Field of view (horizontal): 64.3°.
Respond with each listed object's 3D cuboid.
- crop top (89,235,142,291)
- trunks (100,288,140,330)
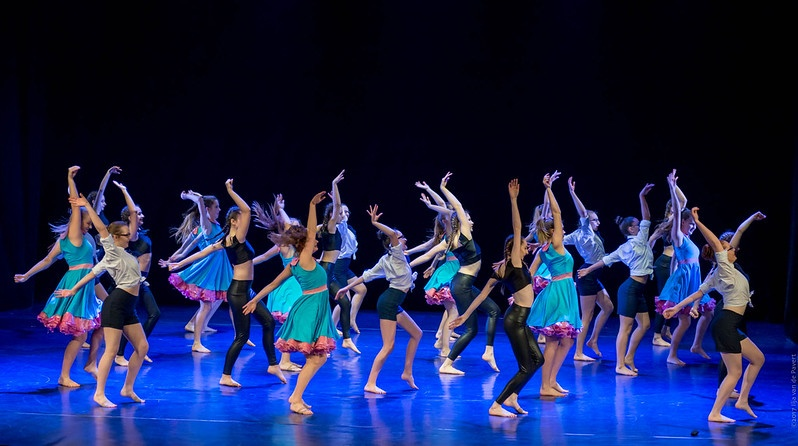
[{"bbox_3d":[-3.659,0.523,8.183,0.344,0.382,0.847,-8,1,-39],"label":"crop top"},{"bbox_3d":[-3.438,1.074,7.789,0.374,0.539,0.658,-6,-6,28],"label":"trunks"}]
